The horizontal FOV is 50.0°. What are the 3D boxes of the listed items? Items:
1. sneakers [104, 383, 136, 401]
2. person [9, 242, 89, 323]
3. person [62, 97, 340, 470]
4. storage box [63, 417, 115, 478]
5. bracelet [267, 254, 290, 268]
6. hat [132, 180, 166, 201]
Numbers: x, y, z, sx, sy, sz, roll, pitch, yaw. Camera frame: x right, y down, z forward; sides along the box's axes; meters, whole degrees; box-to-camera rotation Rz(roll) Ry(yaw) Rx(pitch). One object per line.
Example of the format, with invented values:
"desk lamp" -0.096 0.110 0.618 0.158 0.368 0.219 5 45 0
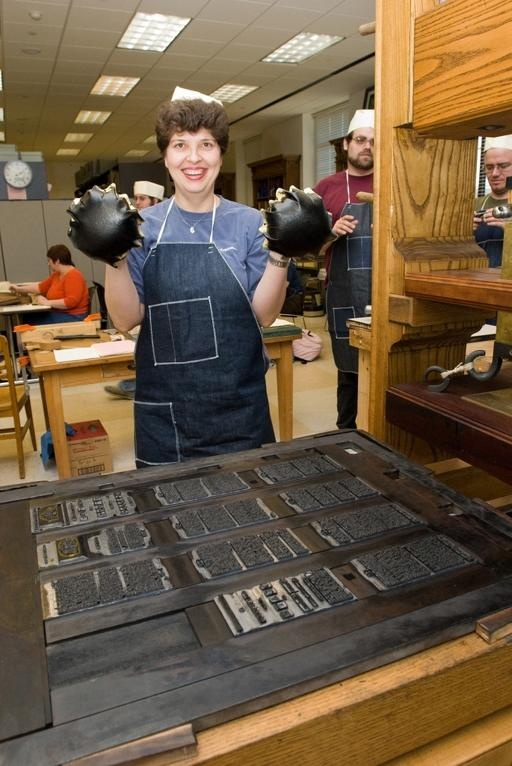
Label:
"sneakers" -1.164 0.081 4.663 0.111 0.117 0.308 9 5 -45
"person" -2.172 -0.906 5.631 0.862 0.962 0.547 -4 11 -11
"person" -0.127 -0.196 1.324 0.533 0.932 0.490 -4 15 -8
"storage box" -0.919 0.359 2.985 0.292 0.271 0.288 -8 25 -22
"bracelet" 0.055 -0.281 1.272 0.034 0.013 0.034 25 11 24
"hat" -1.116 -1.964 5.675 0.264 0.193 0.340 9 18 12
